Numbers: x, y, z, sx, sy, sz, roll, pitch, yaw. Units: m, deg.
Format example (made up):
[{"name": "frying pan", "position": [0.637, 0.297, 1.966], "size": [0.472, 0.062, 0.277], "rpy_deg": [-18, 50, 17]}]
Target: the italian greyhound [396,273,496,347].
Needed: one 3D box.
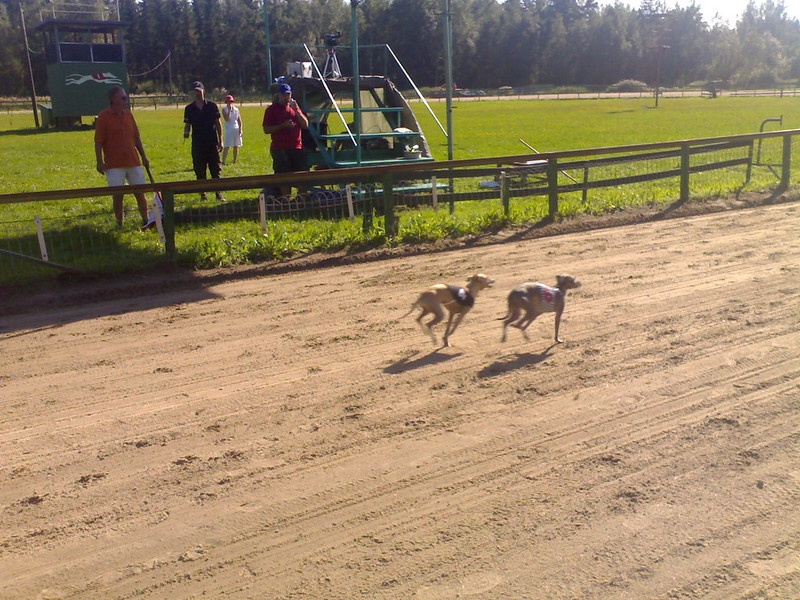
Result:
[{"name": "italian greyhound", "position": [0.456, 0.063, 8.869], "size": [1.111, 0.700, 0.323], "rpy_deg": [6, 7, -35]}]

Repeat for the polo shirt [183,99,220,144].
[{"name": "polo shirt", "position": [-3.202, -2.884, 14.170], "size": [0.524, 0.691, 0.458], "rpy_deg": [-8, 26, -17]}]

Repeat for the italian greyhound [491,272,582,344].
[{"name": "italian greyhound", "position": [1.444, 0.084, 8.860], "size": [0.916, 0.675, 0.281], "rpy_deg": [0, -5, -22]}]

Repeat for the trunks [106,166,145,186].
[{"name": "trunks", "position": [-3.809, -1.715, 12.092], "size": [0.338, 0.230, 0.182], "rpy_deg": [-20, 35, -33]}]

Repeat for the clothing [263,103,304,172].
[{"name": "clothing", "position": [-1.770, -2.466, 13.410], "size": [0.613, 1.083, 0.552], "rpy_deg": [-2, 25, -6]}]

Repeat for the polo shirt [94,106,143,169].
[{"name": "polo shirt", "position": [-3.885, -2.197, 12.016], "size": [0.630, 0.856, 0.364], "rpy_deg": [-13, 28, -26]}]
